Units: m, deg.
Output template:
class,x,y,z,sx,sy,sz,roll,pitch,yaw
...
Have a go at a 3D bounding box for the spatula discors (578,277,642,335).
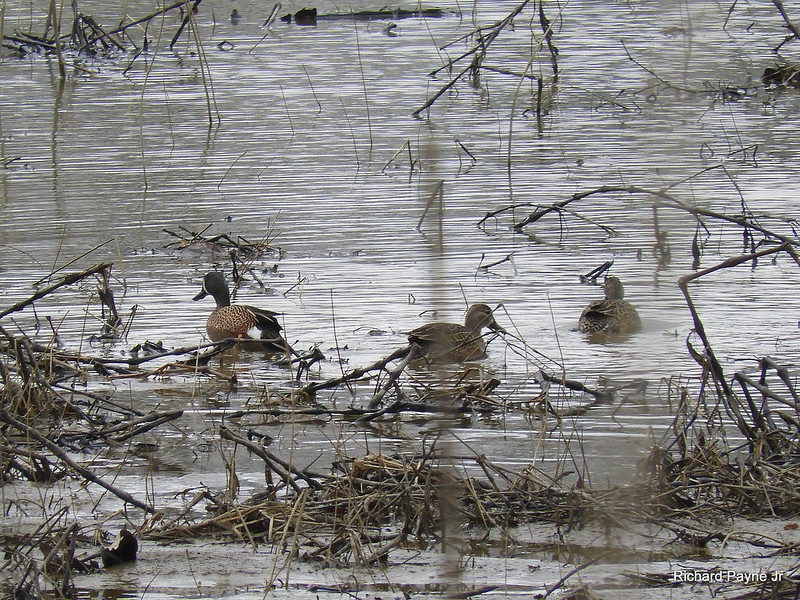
class,x,y,z,sx,sy,sz,roll,pitch,yaw
spatula discors,2.051,0.086,11.112,0.506,0.435,0.756,7,16,43
